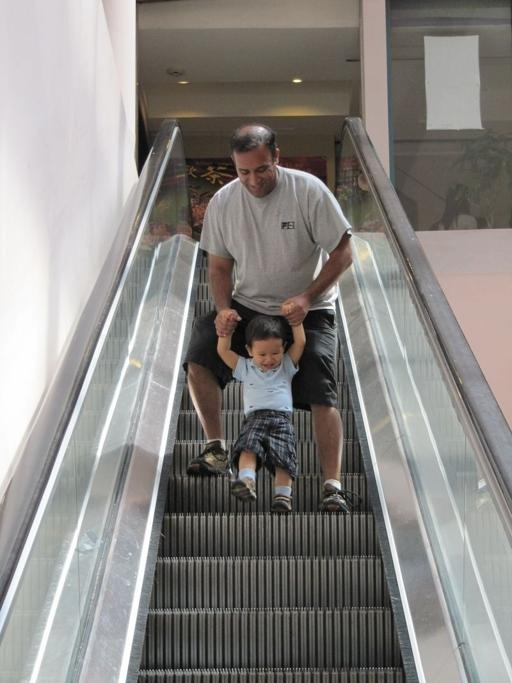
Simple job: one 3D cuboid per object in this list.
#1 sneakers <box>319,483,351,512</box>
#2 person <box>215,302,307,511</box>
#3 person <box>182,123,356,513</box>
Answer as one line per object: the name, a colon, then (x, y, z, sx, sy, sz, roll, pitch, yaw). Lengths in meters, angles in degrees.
sneakers: (0.330, 0.664, 2.133, 0.069, 0.095, 0.195, 10, -26, 8)
person: (0.046, 0.299, 2.302, 0.429, 0.717, 0.842, -1, 19, -5)
person: (0.115, -0.116, 2.684, 0.755, 1.909, 0.721, -2, -4, 24)
